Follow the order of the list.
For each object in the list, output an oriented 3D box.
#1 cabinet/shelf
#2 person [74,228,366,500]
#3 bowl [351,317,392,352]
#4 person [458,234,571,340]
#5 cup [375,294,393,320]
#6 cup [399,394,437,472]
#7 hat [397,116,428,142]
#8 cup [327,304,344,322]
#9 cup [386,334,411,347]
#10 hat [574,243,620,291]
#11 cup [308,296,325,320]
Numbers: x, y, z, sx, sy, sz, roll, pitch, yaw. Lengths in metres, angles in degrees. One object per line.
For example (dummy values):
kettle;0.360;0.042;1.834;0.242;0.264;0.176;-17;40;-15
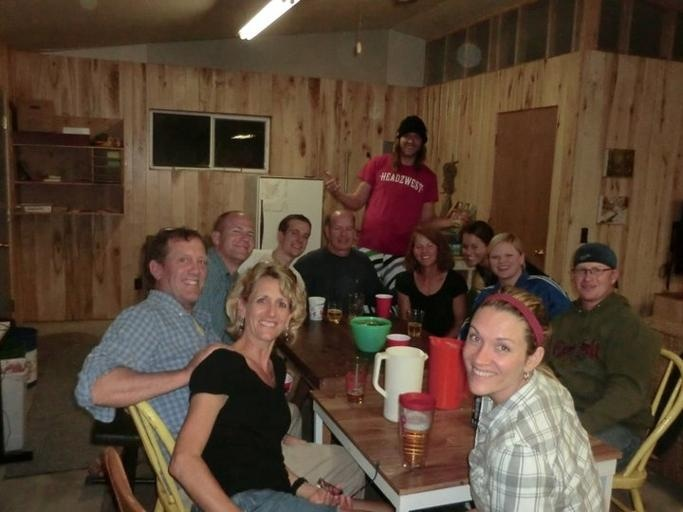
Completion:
cabinet/shelf;-2.679;-0.933;5.647;1.091;0.979;0.320;-2;8;-23
person;-0.783;0.459;2.942;1.509;1.506;0.909;0;-10;-9
bowl;0.147;0.432;3.096;0.219;0.140;0.218;0;-1;0
person;1.010;0.239;3.505;0.749;0.627;0.445;-18;-29;37
cup;0.270;0.306;3.589;0.135;0.132;0.130;2;-5;0
cup;0.273;0.643;2.148;0.126;0.240;0.137;1;14;0
hat;0.572;-1.044;4.731;0.192;0.188;0.244;4;23;-7
cup;-0.037;0.353;3.598;0.097;0.097;0.096;2;7;0
cup;0.294;0.405;2.847;0.088;0.062;0.076;0;2;-6
hat;1.364;0.031;3.091;0.168;0.099;0.165;13;-1;1
cup;-0.157;0.328;3.664;0.131;0.136;0.127;3;1;0
